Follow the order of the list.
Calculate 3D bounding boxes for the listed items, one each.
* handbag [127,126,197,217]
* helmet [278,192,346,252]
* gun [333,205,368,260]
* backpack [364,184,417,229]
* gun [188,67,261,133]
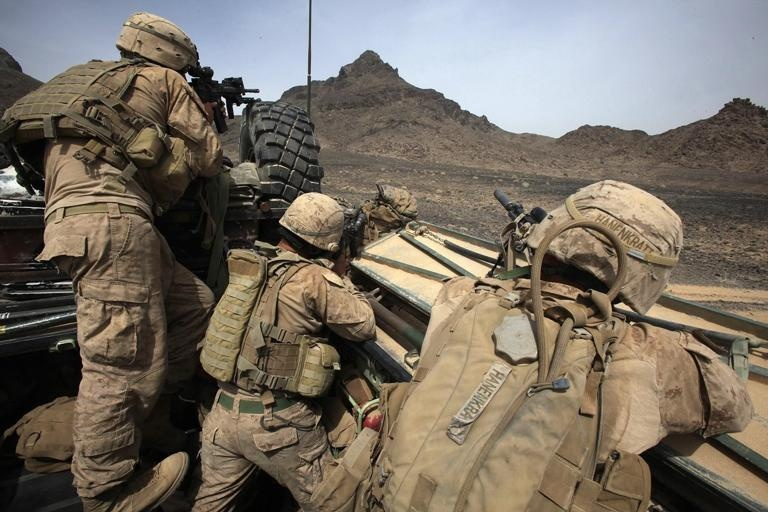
[{"bbox_3d":[-1.676,-0.667,3.742,0.593,0.418,0.570,14,-12,-3],"label":"handbag"},{"bbox_3d":[-0.531,-0.256,4.008,0.434,0.309,0.498,35,28,27],"label":"helmet"},{"bbox_3d":[-0.228,-0.229,4.729,0.327,0.442,0.250,-5,-18,-2],"label":"gun"},{"bbox_3d":[0.136,-0.576,5.585,0.608,0.471,0.455,1,27,-28],"label":"backpack"},{"bbox_3d":[-2.111,-1.969,6.159,0.233,0.786,1.532,-3,14,21],"label":"gun"}]
